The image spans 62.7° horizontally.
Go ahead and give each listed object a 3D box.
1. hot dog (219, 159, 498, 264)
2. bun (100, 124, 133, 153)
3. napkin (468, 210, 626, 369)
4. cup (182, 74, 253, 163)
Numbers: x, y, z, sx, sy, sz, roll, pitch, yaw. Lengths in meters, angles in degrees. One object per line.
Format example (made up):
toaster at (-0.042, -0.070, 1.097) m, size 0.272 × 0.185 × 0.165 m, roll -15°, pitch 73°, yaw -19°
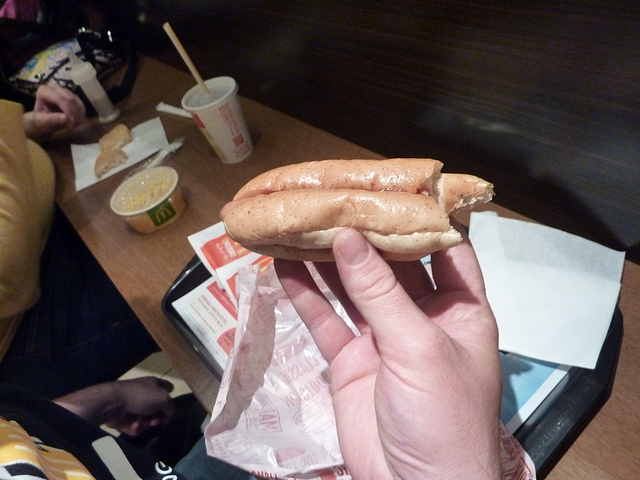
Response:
hot dog at (0.077, -0.087, 1.370) m, size 0.593 × 0.191 × 0.335 m, roll 3°, pitch 33°, yaw 9°
bun at (-0.909, -0.438, 2.404) m, size 0.126 × 0.050 × 0.134 m, roll -22°, pitch 37°, yaw 15°
napkin at (0.688, 0.152, 1.586) m, size 0.401 × 0.119 × 0.434 m, roll 2°, pitch 72°, yaw 12°
cup at (-0.389, -0.461, 2.097) m, size 0.243 × 0.274 × 0.248 m, roll -14°, pitch 30°, yaw 8°
